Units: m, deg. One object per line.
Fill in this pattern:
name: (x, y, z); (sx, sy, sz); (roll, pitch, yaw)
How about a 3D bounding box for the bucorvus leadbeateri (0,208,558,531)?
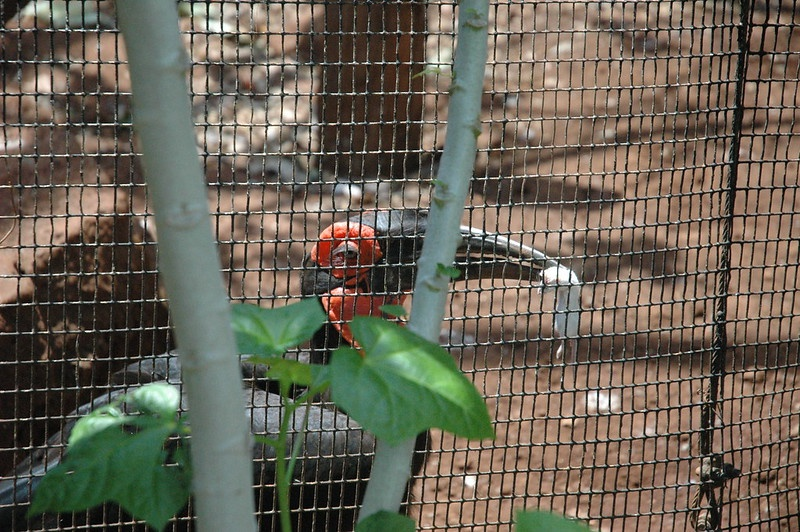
bucorvus leadbeateri: (-0.529, 0.585, 6.841); (2.820, 2.029, 1.206); (-8, -38, 5)
